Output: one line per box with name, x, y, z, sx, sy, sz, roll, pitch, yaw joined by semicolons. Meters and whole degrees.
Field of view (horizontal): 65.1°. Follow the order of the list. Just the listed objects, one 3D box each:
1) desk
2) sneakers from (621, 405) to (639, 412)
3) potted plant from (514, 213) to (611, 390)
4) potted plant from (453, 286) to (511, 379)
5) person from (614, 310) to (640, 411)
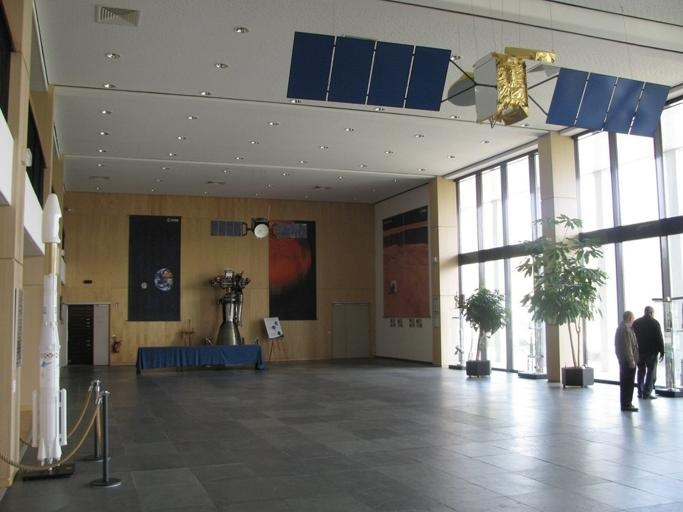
desk;-4.430;3.222;16.813;3.769;0.846;0.576;1;-7;-18
sneakers;5.213;2.729;9.621;0.317;0.099;0.211;-1;-7;-6
potted plant;5.444;0.998;13.006;1.826;4.235;1.699;-4;-7;27
potted plant;4.208;2.228;16.019;1.339;2.537;1.571;-2;-6;9
person;5.211;1.898;9.722;0.358;1.772;0.395;-2;-6;4
